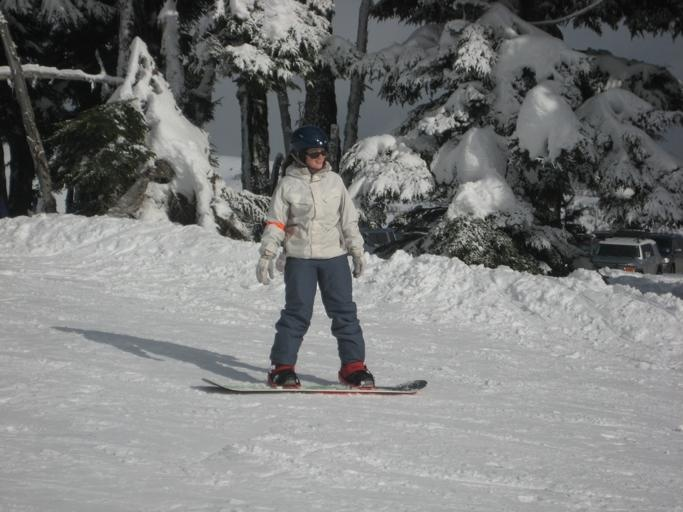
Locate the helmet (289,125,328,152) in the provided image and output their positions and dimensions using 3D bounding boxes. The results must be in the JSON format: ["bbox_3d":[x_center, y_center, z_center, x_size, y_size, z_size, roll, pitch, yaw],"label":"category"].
[{"bbox_3d":[-0.439,-1.674,15.153,0.526,0.400,0.386,16,8,12],"label":"helmet"}]

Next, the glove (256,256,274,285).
[{"bbox_3d":[-1.084,0.211,14.938,0.285,0.372,0.101,-1,-4,-6],"label":"glove"}]
